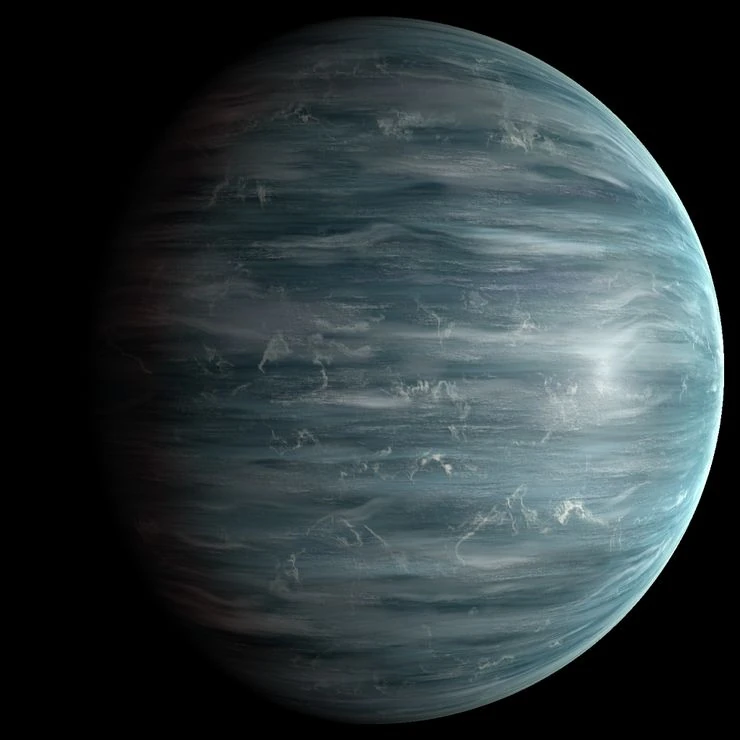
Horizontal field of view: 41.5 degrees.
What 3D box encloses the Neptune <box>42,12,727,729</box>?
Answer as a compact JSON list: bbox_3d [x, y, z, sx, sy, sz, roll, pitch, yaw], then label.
[{"bbox_3d":[0.682,0.110,4.723,3.348,2.721,2.482,2,85,-22],"label":"Neptune"}]
